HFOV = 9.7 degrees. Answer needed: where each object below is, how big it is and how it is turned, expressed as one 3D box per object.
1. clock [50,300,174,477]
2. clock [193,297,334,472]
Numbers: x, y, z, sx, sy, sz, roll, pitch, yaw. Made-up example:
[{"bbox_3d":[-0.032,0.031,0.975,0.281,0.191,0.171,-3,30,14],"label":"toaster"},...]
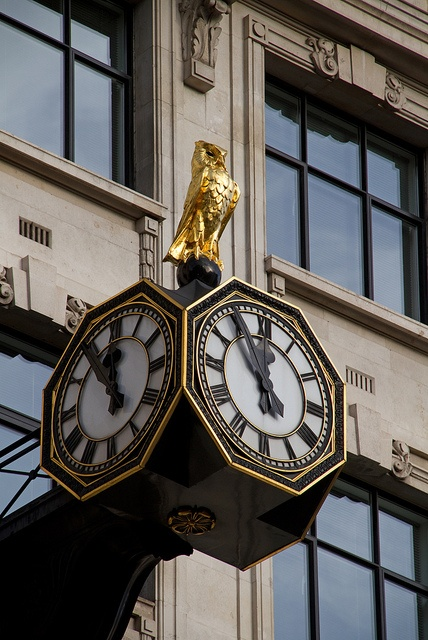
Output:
[{"bbox_3d":[-0.776,0.549,19.508,0.092,1.551,1.372,31,-15,-39],"label":"clock"},{"bbox_3d":[0.323,0.546,19.494,0.086,1.543,1.407,-33,-17,24],"label":"clock"}]
